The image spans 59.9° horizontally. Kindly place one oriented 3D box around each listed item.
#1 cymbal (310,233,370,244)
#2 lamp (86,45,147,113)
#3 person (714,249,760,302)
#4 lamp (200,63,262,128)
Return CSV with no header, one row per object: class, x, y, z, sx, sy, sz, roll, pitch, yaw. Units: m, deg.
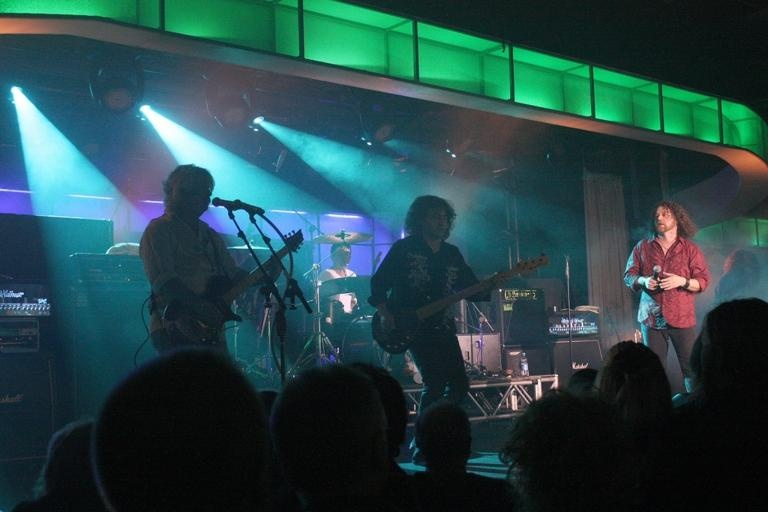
cymbal,-0.580,-0.260,9.334,0.350,0.065,0.339,-7,-7,18
lamp,-2.924,-1.955,7.318,0.676,0.689,0.611,-3,-49,-24
person,5.161,0.243,9.640,0.872,0.698,0.417,2,-7,-25
lamp,-1.806,-1.872,7.783,0.658,0.569,0.145,-7,12,-23
